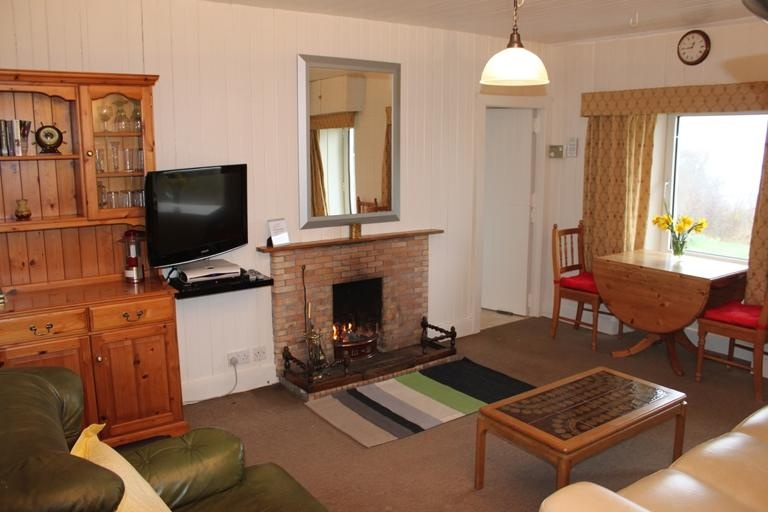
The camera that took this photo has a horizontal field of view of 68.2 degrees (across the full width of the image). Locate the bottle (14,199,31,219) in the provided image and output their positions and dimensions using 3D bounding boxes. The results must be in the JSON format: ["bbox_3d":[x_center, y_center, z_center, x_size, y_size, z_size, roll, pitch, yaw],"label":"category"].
[{"bbox_3d":[-2.670,-0.348,4.202,0.111,0.150,0.181,-8,13,-32],"label":"bottle"}]

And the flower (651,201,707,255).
[{"bbox_3d":[3.083,-0.284,5.982,0.540,0.512,0.500,1,3,2],"label":"flower"}]

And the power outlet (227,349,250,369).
[{"bbox_3d":[-1.340,0.933,5.211,0.198,0.138,0.026,-4,8,-38],"label":"power outlet"}]

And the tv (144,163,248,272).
[{"bbox_3d":[-1.563,-0.339,4.636,0.123,0.699,0.877,16,19,40],"label":"tv"}]

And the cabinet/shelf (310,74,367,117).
[{"bbox_3d":[-0.427,-1.547,5.421,0.738,0.379,0.442,-13,12,-42],"label":"cabinet/shelf"}]

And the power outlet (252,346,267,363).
[{"bbox_3d":[-1.167,0.909,5.314,0.160,0.151,0.021,-9,10,-41],"label":"power outlet"}]

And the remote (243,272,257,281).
[{"bbox_3d":[-1.159,0.173,4.970,0.078,0.023,0.079,19,20,42],"label":"remote"}]

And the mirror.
[{"bbox_3d":[-0.319,-1.102,5.527,1.130,1.595,0.296,-10,15,-39],"label":"mirror"}]

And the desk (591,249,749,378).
[{"bbox_3d":[2.895,0.251,5.981,1.160,1.347,1.608,-13,16,-35],"label":"desk"}]
